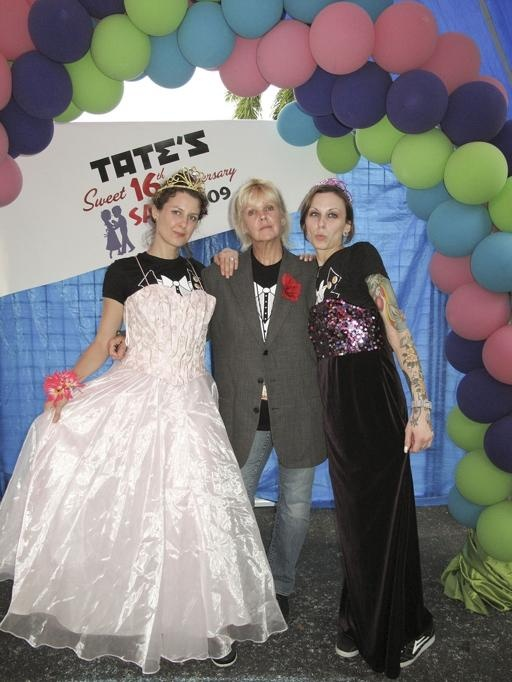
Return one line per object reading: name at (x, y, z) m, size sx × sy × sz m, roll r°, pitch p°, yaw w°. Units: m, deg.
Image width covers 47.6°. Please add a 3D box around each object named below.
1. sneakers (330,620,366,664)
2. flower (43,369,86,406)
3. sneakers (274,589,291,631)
sneakers at (0.348, 1.104, 2.138) m, size 0.061 × 0.111 × 0.161 m, roll 2°, pitch 2°, yaw 20°
flower at (-0.711, 0.175, 2.163) m, size 0.127 × 0.124 × 0.076 m, roll 0°, pitch -10°, yaw 15°
sneakers at (0.116, 1.106, 2.404) m, size 0.053 × 0.151 × 0.061 m, roll -12°, pitch -10°, yaw -12°
